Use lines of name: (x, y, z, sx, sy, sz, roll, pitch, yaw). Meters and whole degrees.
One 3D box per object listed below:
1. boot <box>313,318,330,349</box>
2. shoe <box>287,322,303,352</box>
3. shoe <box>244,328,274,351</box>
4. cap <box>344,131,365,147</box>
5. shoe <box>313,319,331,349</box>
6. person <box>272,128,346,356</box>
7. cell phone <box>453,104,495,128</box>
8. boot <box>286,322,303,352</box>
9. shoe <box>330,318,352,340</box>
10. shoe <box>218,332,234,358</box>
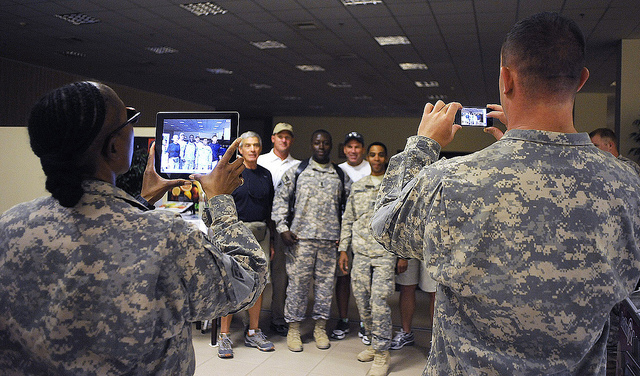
boot: (0.011, 1.377, 4.398, 0.143, 0.235, 0.351, -3, 7, -12)
shoe: (-0.235, 1.382, 4.342, 0.137, 0.223, 0.347, 2, 1, -11)
shoe: (-0.564, 1.421, 4.329, 0.348, 0.152, 0.122, 1, -1, 36)
cap: (0.393, -0.554, 5.110, 0.177, 0.129, 0.357, 3, 5, 12)
shoe: (0.011, 1.381, 4.407, 0.142, 0.232, 0.363, -5, 7, -11)
person: (-0.114, 0.457, 4.472, 0.685, 2.046, 0.786, 3, 5, 3)
cell phone: (0.712, -0.332, 2.161, 0.195, 0.096, 0.019, 0, -14, 2)
boot: (-0.241, 1.385, 4.339, 0.129, 0.218, 0.347, 2, 3, -12)
shoe: (0.230, 1.393, 4.633, 0.130, 0.145, 0.337, 5, 5, 27)
shoe: (-0.843, 1.409, 4.172, 0.126, 0.175, 0.205, 1, 5, -13)
